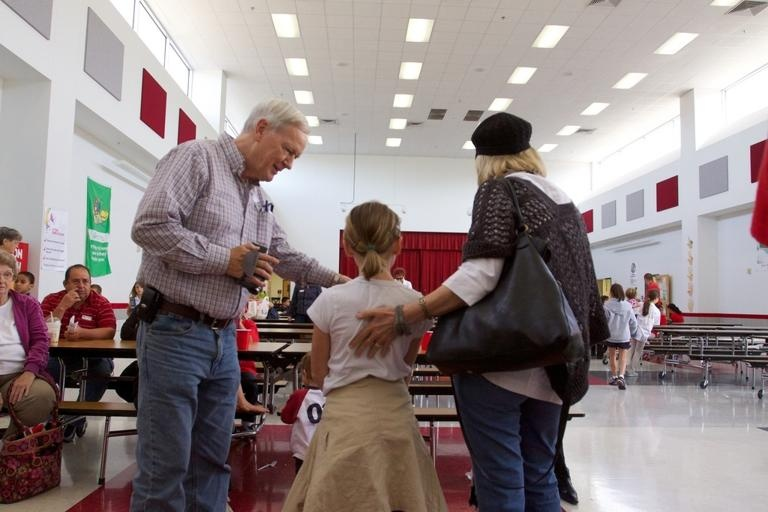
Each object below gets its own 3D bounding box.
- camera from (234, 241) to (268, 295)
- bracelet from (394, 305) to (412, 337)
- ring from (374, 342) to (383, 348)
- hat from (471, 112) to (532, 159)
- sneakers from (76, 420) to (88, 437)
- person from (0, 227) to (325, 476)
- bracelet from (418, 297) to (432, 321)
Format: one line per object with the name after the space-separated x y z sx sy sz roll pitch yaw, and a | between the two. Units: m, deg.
-0.695 0.075 2.638 0.199 0.213 0.075 11 0 -5 | camera
0.085 0.324 2.553 0.050 0.123 0.103 -17 30 0 | bracelet
-0.021 0.447 2.588 0.029 0.032 0.023 3 2 -10 | ring
0.626 -0.645 2.738 0.276 0.192 0.218 -2 9 -11 | hat
-2.785 1.581 4.691 0.053 0.070 0.162 8 15 -10 | sneakers
-1.992 0.820 4.205 1.838 1.318 0.985 0 -16 2 | person
0.196 0.256 2.499 0.032 0.091 0.080 -36 29 -20 | bracelet
